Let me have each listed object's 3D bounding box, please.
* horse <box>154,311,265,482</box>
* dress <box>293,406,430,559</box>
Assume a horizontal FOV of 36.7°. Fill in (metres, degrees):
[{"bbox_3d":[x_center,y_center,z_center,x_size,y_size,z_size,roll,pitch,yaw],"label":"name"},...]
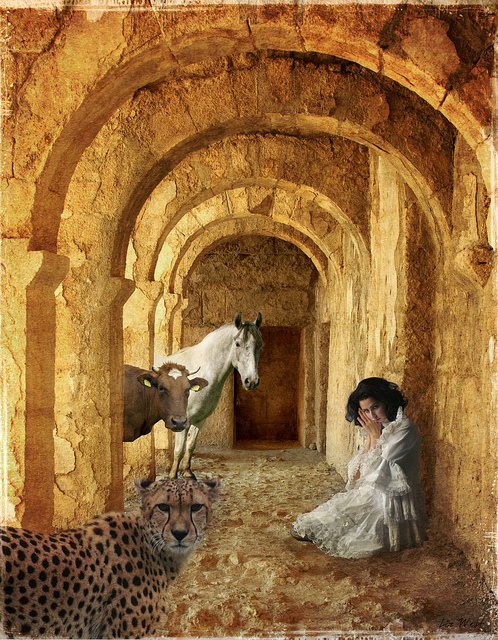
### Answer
[{"bbox_3d":[-0.302,0.651,6.244,0.909,1.477,1.126,0,-3,-3],"label":"horse"},{"bbox_3d":[0.675,0.819,4.375,0.697,0.974,0.581,3,-8,0],"label":"dress"}]
